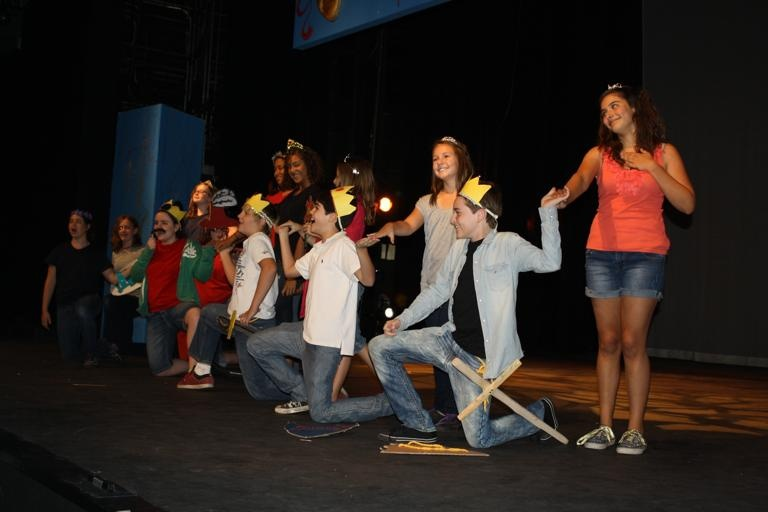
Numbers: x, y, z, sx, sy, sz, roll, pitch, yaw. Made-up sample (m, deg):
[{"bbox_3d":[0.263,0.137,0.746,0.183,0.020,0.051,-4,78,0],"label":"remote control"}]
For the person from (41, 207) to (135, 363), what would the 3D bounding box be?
[{"bbox_3d":[-3.061,0.299,6.252,0.663,1.457,0.839,-6,10,-38],"label":"person"}]

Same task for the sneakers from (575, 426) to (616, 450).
[{"bbox_3d":[1.350,1.168,3.922,0.114,0.098,0.241,-8,-14,38],"label":"sneakers"}]

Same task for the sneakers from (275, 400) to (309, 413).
[{"bbox_3d":[-0.672,1.130,4.608,0.291,0.118,0.108,6,-8,-19],"label":"sneakers"}]

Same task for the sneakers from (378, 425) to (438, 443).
[{"bbox_3d":[0.163,1.139,4.016,0.364,0.137,0.138,3,-14,4],"label":"sneakers"}]

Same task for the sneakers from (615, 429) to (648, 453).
[{"bbox_3d":[1.569,1.172,3.858,0.255,0.144,0.110,-2,8,-18],"label":"sneakers"}]

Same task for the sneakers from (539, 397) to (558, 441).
[{"bbox_3d":[1.117,1.081,4.108,0.058,0.282,0.148,-4,-16,-29],"label":"sneakers"}]

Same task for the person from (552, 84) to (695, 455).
[{"bbox_3d":[1.554,0.068,3.976,0.739,2.366,0.649,3,8,18],"label":"person"}]

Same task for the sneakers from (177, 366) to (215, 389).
[{"bbox_3d":[-1.573,1.046,5.193,0.347,0.164,0.132,1,-3,2],"label":"sneakers"}]

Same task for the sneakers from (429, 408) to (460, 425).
[{"bbox_3d":[0.426,1.159,4.390,0.205,0.085,0.078,-6,-6,31],"label":"sneakers"}]
